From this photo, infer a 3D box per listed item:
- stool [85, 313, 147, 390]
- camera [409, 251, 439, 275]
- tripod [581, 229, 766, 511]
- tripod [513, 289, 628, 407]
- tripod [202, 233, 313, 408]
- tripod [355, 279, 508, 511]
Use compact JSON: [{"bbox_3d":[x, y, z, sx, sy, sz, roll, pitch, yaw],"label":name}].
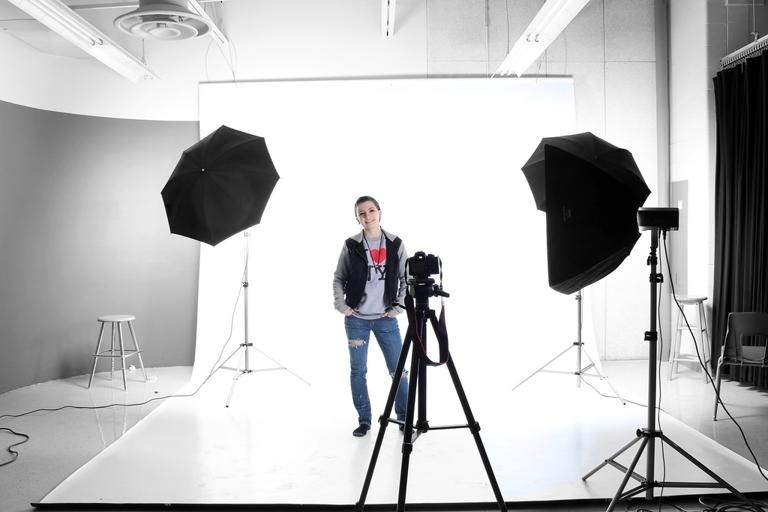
[{"bbox_3d":[-3.183,1.125,7.531,0.622,0.800,0.631,0,-1,-12],"label":"stool"},{"bbox_3d":[0.314,0.058,4.822,0.251,0.236,0.170,-2,3,6],"label":"camera"},{"bbox_3d":[2.311,0.925,5.576,1.224,2.153,1.478,1,0,1],"label":"tripod"},{"bbox_3d":[2.187,0.894,7.162,1.137,1.205,1.193,0,-1,34],"label":"tripod"},{"bbox_3d":[-1.553,0.647,7.322,1.144,2.073,1.055,1,0,-19],"label":"tripod"},{"bbox_3d":[0.399,1.351,5.826,1.643,2.384,1.368,-2,-7,8],"label":"tripod"}]
